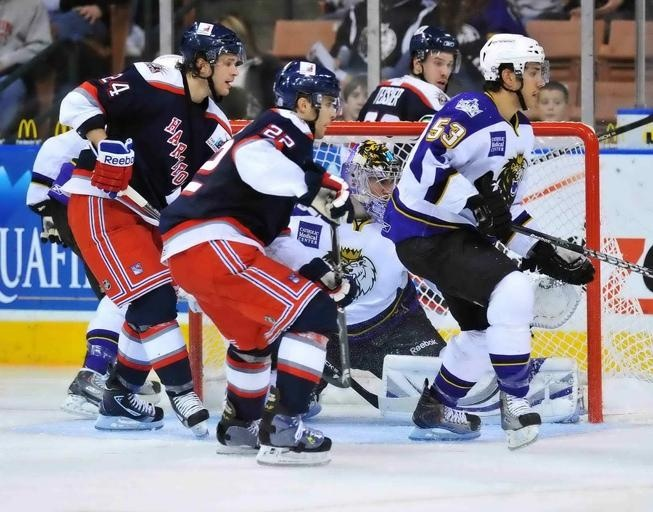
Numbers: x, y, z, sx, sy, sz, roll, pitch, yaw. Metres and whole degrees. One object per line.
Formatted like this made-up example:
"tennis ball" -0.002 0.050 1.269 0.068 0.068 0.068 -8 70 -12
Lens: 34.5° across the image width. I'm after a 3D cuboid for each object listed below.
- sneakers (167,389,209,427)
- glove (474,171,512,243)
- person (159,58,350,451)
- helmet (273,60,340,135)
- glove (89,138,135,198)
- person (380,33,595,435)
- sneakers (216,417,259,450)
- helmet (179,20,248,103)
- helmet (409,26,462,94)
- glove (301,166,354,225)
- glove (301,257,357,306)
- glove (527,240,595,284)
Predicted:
"sneakers" -0.589 0.610 4.397 0.090 0.110 0.264 -38 22 -9
"glove" 0.647 -0.188 4.068 0.089 0.223 0.175 -22 1 26
"person" -0.264 0.014 3.991 0.722 1.500 0.377 -1 7 -9
"helmet" -0.067 -0.622 4.155 0.302 0.251 0.230 1 8 -7
"glove" -0.877 -0.361 4.283 0.167 0.223 0.189 -2 7 -13
"person" 0.609 -0.054 4.226 0.801 1.661 0.481 1 7 12
"sneakers" -0.347 0.693 4.144 0.160 0.117 0.111 -4 -2 -1
"helmet" -0.481 -0.845 4.487 0.329 0.322 0.254 4 5 -2
"helmet" 0.519 -1.014 5.412 0.316 0.350 0.290 9 8 23
"glove" 0.007 -0.233 3.948 0.211 0.197 0.094 35 -52 -24
"glove" 0.025 0.089 4.104 0.193 0.085 0.193 37 23 8
"glove" 0.974 0.034 4.383 0.290 0.145 0.097 21 -13 4
